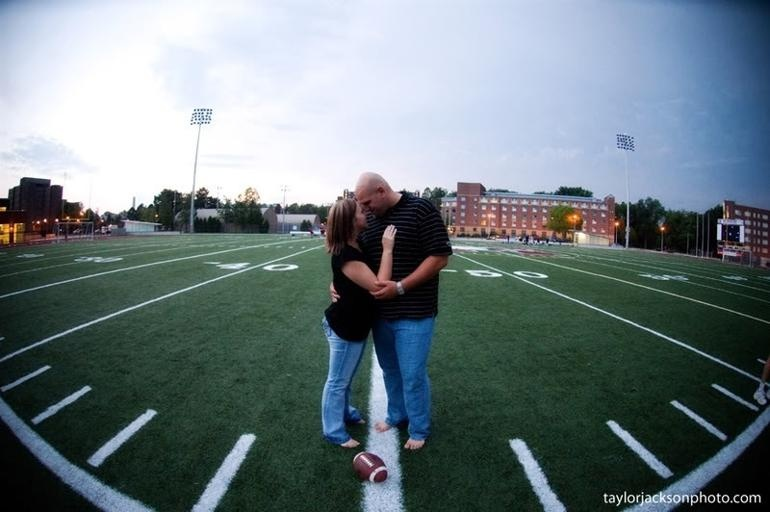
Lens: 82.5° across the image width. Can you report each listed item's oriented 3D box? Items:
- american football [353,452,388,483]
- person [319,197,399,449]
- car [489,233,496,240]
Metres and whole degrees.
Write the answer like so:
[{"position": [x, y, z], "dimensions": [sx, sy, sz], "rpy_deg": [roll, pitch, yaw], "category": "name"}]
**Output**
[{"position": [-0.142, 2.250, 4.708], "dimensions": [0.312, 0.204, 0.228], "rpy_deg": [24, 12, 22], "category": "american football"}, {"position": [-0.346, 0.765, 5.043], "dimensions": [0.708, 2.848, 0.305], "rpy_deg": [0, 5, -10], "category": "person"}, {"position": [26.209, -4.966, 107.057], "dimensions": [1.969, 1.427, 1.943], "rpy_deg": [-1, -4, -25], "category": "car"}]
